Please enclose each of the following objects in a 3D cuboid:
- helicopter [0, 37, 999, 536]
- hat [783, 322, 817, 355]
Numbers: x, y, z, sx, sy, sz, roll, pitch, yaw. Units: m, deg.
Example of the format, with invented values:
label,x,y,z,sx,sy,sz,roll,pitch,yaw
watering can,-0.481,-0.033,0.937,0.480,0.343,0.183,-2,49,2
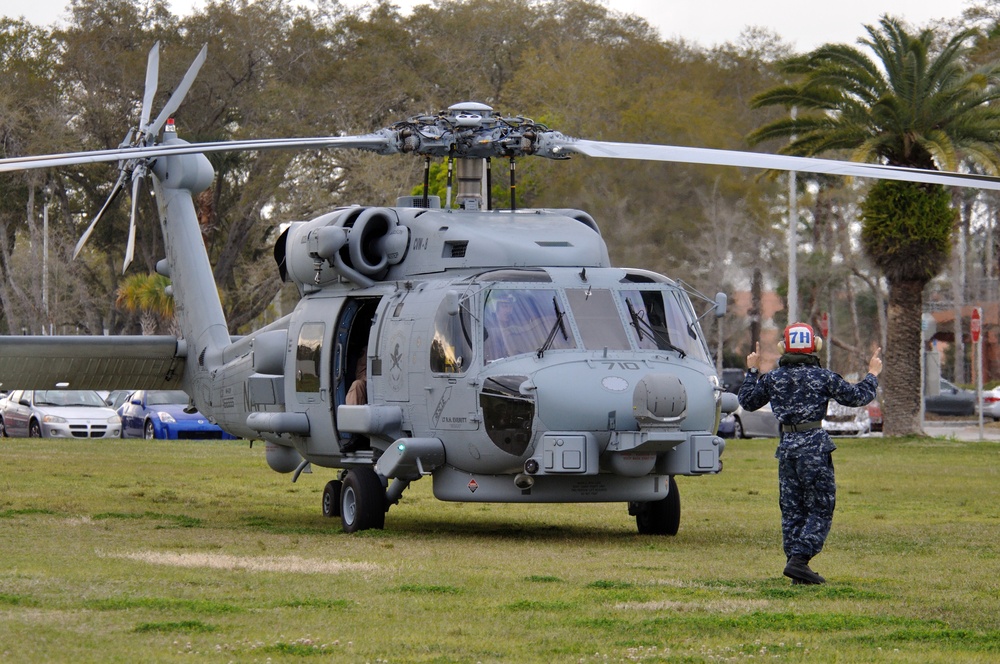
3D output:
label,x,y,z,sx,sy,sz,roll,pitch,yaw
helicopter,-0.297,-1.063,44.214,20.756,10.483,17.470,0,-2,33
hat,5.778,0.131,40.726,0.598,0.509,0.588,-1,-14,2
